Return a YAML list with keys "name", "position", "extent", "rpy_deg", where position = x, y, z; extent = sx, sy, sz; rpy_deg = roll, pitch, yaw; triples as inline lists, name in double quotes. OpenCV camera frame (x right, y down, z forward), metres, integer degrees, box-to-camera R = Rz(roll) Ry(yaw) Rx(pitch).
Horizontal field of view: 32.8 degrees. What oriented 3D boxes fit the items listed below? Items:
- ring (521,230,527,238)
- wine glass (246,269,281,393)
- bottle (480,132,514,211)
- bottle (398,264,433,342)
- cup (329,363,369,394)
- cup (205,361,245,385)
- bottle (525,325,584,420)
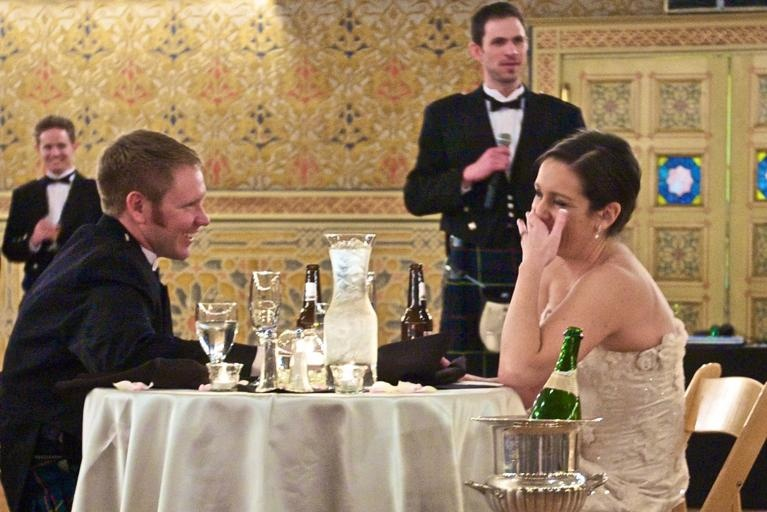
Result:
- name: "ring"
  position: [0.581, -0.093, 5.366]
  extent: [0.027, 0.023, 0.047]
  rpy_deg: [-5, -21, -3]
- name: "wine glass"
  position: [-0.465, 0.290, 5.081]
  extent: [0.113, 0.461, 0.189]
  rpy_deg: [1, -2, -6]
- name: "bottle"
  position: [0.606, -0.440, 6.645]
  extent: [0.106, 0.519, 0.099]
  rpy_deg: [10, 34, -7]
- name: "bottle"
  position: [0.145, 0.192, 5.613]
  extent: [0.123, 0.319, 0.113]
  rpy_deg: [1, -2, 0]
- name: "cup"
  position: [-0.130, 0.471, 5.009]
  extent: [0.125, 0.078, 0.119]
  rpy_deg: [0, -4, 0]
- name: "cup"
  position: [-0.610, 0.456, 4.995]
  extent: [0.099, 0.045, 0.096]
  rpy_deg: [-1, -13, 0]
- name: "bottle"
  position: [0.631, 0.427, 4.779]
  extent: [0.184, 0.334, 0.109]
  rpy_deg: [0, -2, 7]
